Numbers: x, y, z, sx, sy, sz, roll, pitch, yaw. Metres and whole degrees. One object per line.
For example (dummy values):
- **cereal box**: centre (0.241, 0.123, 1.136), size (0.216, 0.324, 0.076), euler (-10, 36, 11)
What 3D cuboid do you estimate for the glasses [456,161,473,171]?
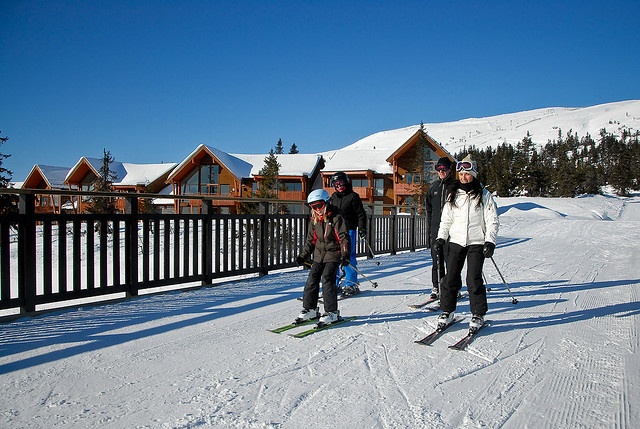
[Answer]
- **glasses**: centre (1.902, -0.633, 6.067), size (0.149, 0.083, 0.160), euler (0, -17, 42)

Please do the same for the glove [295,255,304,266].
- **glove**: centre (-0.273, 0.639, 6.260), size (0.109, 0.127, 0.143), euler (-2, 5, 2)

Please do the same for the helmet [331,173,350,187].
- **helmet**: centre (0.319, -0.574, 7.537), size (0.198, 0.221, 0.275), euler (-2, 14, 12)

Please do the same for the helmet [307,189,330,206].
- **helmet**: centre (-0.021, -0.244, 6.238), size (0.188, 0.229, 0.250), euler (-16, -21, 22)

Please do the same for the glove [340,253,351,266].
- **glove**: centre (0.332, 0.605, 6.115), size (0.114, 0.143, 0.239), euler (-4, 0, 3)

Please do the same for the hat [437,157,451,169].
- **hat**: centre (1.960, -0.777, 7.359), size (0.170, 0.249, 0.205), euler (2, 47, 32)

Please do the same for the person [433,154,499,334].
- **person**: centre (1.891, 0.350, 6.019), size (0.818, 2.402, 0.522), euler (-4, -1, 22)

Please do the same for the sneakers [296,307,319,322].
- **sneakers**: centre (-0.165, 1.342, 6.124), size (0.364, 0.172, 0.108), euler (1, -2, -40)

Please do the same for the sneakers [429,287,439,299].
- **sneakers**: centre (1.823, 1.273, 7.339), size (0.079, 0.110, 0.250), euler (-2, -1, 22)

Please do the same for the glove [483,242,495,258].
- **glove**: centre (2.091, 0.435, 5.724), size (0.128, 0.197, 0.097), euler (-4, -1, 31)

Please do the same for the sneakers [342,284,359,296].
- **sneakers**: centre (0.486, 1.267, 7.591), size (0.154, 0.118, 0.228), euler (0, 4, 17)

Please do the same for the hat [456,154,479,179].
- **hat**: centre (1.944, -0.633, 6.144), size (0.243, 0.348, 0.330), euler (2, -3, 39)

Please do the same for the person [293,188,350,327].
- **person**: centre (0.018, 0.559, 6.188), size (0.786, 1.768, 0.579), euler (-4, -1, 10)
